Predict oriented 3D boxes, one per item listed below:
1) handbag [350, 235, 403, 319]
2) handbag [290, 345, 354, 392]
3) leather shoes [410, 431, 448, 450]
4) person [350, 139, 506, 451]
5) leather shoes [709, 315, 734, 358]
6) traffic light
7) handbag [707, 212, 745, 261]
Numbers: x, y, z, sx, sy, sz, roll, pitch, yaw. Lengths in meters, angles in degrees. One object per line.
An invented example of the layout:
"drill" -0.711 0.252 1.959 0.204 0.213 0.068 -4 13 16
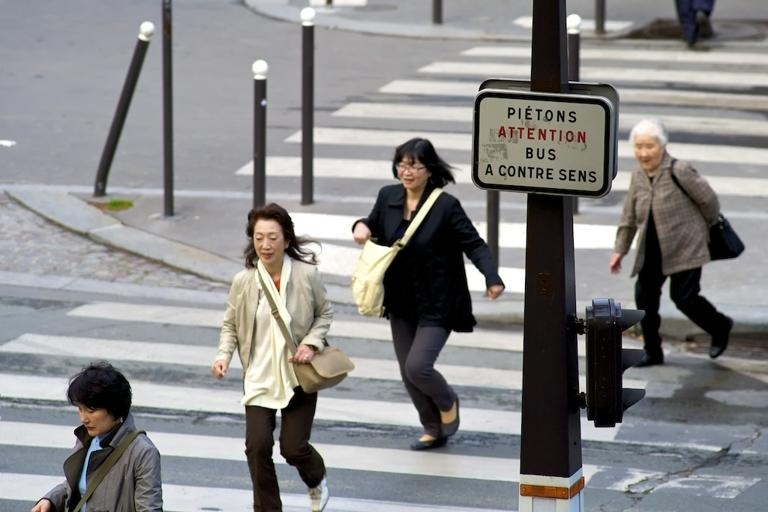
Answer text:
"handbag" -0.075 0.232 18.755 0.601 1.079 0.946 2 7 -14
"handbag" -0.639 1.146 17.704 0.566 0.212 0.433 -15 39 -10
"leather shoes" 0.471 2.030 19.052 0.438 0.145 0.161 -1 8 -3
"person" 0.416 0.440 18.651 1.455 3.392 0.683 1 6 5
"leather shoes" 3.900 0.977 20.364 0.253 0.557 0.195 3 16 -20
"traffic light" 2.224 1.059 16.943 0.578 1.276 0.317 -2 6 -27
"handbag" 3.923 -0.281 20.025 0.339 0.575 0.601 -12 0 22
